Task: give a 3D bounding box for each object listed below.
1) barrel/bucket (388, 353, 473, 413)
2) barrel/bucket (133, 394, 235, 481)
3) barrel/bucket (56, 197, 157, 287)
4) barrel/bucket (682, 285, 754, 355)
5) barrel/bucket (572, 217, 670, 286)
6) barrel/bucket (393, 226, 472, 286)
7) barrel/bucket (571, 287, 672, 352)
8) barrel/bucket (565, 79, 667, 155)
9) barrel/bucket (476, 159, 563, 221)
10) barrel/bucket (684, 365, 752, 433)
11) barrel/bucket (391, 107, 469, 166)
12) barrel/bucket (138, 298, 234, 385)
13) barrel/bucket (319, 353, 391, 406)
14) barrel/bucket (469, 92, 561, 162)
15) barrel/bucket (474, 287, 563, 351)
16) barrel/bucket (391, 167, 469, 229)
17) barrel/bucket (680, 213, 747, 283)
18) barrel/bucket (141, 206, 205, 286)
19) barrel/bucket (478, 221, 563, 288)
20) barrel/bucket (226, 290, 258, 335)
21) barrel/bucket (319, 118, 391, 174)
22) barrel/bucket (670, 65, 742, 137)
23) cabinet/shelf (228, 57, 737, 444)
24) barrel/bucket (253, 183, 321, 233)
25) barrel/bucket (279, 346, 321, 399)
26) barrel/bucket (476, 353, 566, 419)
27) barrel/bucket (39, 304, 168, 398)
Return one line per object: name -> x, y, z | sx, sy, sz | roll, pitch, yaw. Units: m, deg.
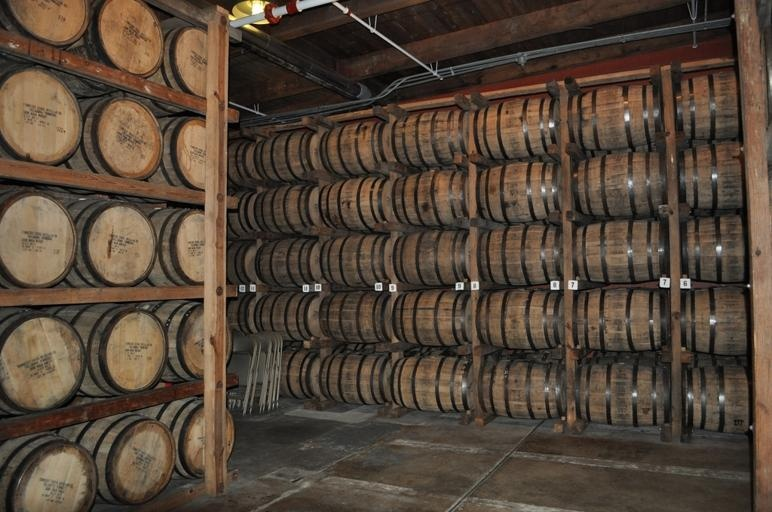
barrel/bucket -> 0.709, 1.745, 8.839 | 1.293, 0.878, 0.864 | 0, -18, 18
barrel/bucket -> -2.089, 2.059, 6.881 | 1.198, 0.838, 0.821 | -2, -21, 11
barrel/bucket -> -2.840, -0.072, 6.270 | 0.906, 0.818, 0.872 | 7, -13, 2
barrel/bucket -> 4.050, 0.831, 7.812 | 0.879, 0.805, 0.821 | 3, -8, 0
barrel/bucket -> 3.033, -0.067, 7.946 | 1.269, 0.839, 0.945 | 2, 17, 24
barrel/bucket -> 0.711, 0.016, 9.065 | 1.251, 0.886, 0.842 | 0, -5, 17
barrel/bucket -> 2.997, 0.835, 7.862 | 1.321, 0.863, 0.967 | 3, 5, 25
barrel/bucket -> 3.207, -1.978, 8.650 | 1.314, 0.952, 0.893 | 3, 3, 16
barrel/bucket -> 1.795, -0.870, 8.440 | 1.254, 0.871, 0.867 | 1, -3, 13
barrel/bucket -> 4.127, 1.754, 7.869 | 1.114, 0.787, 0.748 | 2, -6, 9
barrel/bucket -> 0.685, -1.877, 9.326 | 1.311, 0.919, 0.857 | 1, 2, 13
barrel/bucket -> -2.126, 0.944, 6.819 | 0.910, 0.865, 0.876 | 2, -17, 1
barrel/bucket -> -0.513, 1.824, 9.169 | 1.177, 0.869, 0.815 | 1, -11, 21
barrel/bucket -> 1.933, -1.642, 8.876 | 1.320, 0.955, 0.908 | 1, -8, 21
barrel/bucket -> 1.884, 1.028, 8.745 | 1.252, 0.894, 0.839 | 1, -17, 10
barrel/bucket -> 0.718, -0.893, 9.365 | 1.281, 0.930, 0.879 | 1, -1, 17
barrel/bucket -> 4.087, -0.101, 7.934 | 0.831, 0.793, 0.836 | 3, -1, 0
barrel/bucket -> -2.168, -0.105, 6.509 | 0.819, 0.727, 0.773 | 1, -4, 0
barrel/bucket -> 1.958, -0.008, 8.925 | 1.272, 0.899, 0.851 | 0, -11, 13
barrel/bucket -> -2.456, 0.996, 10.523 | 0.641, 0.608, 0.638 | -4, 3, 0
barrel/bucket -> -0.558, -1.692, 9.769 | 1.271, 0.935, 0.880 | 3, 15, 25
barrel/bucket -> 4.142, -1.970, 8.059 | 0.868, 0.821, 0.861 | 3, 4, 0
cabinet/shelf -> 1.440, 0.087, 8.680 | 6.291, 3.758, 2.304 | -1, -1, 19
barrel/bucket -> -1.517, -0.790, 10.772 | 1.356, 0.924, 0.932 | -1, 6, 17
barrel/bucket -> -1.208, 1.883, 10.036 | 1.015, 0.705, 0.707 | -1, -1, 20
barrel/bucket -> 1.934, 1.790, 8.541 | 1.192, 0.859, 0.803 | 1, -14, 14
barrel/bucket -> -2.642, 1.025, 6.495 | 1.339, 0.946, 0.942 | -4, -27, 22
